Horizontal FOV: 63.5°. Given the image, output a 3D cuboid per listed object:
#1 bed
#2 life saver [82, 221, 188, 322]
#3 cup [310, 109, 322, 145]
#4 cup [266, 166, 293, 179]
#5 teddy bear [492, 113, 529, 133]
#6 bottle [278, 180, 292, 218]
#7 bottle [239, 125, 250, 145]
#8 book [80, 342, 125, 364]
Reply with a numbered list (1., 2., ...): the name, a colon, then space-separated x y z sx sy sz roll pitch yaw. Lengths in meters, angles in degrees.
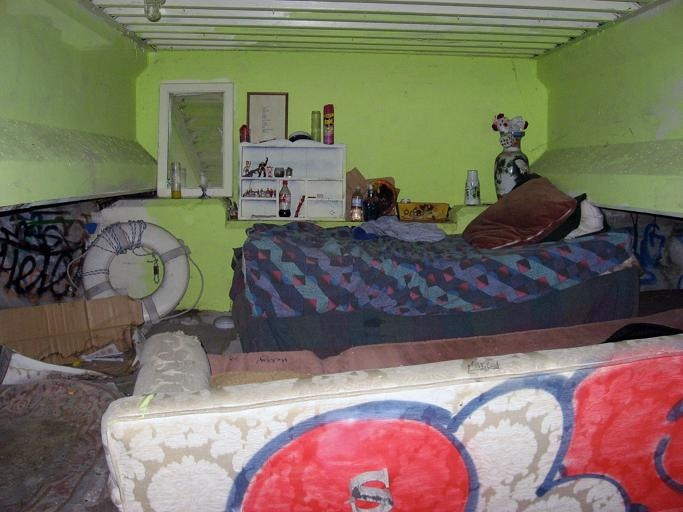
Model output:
1. bed: 0.576 0.207 3.599 1.881 0.509 1.112 -1 13 -5
2. life saver: -1.743 0.114 4.688 0.830 0.820 0.673 -3 10 -24
3. cup: -0.236 -1.220 5.165 0.108 0.302 0.239 0 9 -3
4. cup: -0.559 -0.755 4.993 0.284 0.106 0.091 2 8 -5
5. teddy bear: 1.534 -1.223 5.066 0.276 0.185 0.381 2 9 11
6. bottle: -0.514 -0.523 5.020 0.118 0.333 0.224 -1 9 -7
7. bottle: -0.888 -1.126 5.080 0.094 0.176 0.241 -1 9 -10
8. book: -1.721 0.679 3.968 0.203 0.064 0.151 -10 -7 2
